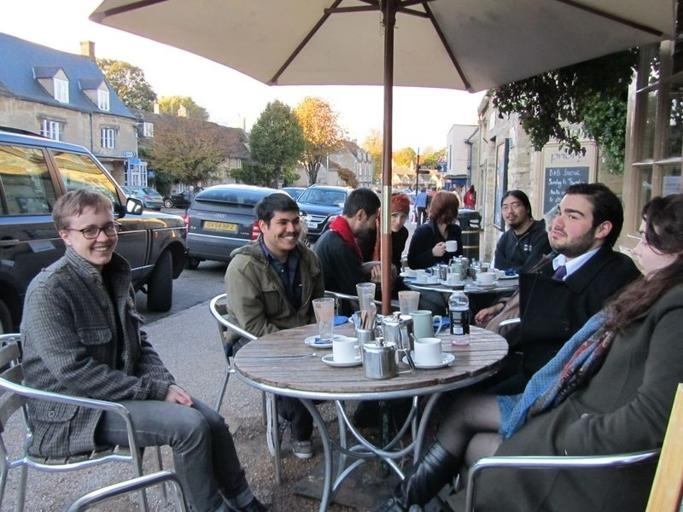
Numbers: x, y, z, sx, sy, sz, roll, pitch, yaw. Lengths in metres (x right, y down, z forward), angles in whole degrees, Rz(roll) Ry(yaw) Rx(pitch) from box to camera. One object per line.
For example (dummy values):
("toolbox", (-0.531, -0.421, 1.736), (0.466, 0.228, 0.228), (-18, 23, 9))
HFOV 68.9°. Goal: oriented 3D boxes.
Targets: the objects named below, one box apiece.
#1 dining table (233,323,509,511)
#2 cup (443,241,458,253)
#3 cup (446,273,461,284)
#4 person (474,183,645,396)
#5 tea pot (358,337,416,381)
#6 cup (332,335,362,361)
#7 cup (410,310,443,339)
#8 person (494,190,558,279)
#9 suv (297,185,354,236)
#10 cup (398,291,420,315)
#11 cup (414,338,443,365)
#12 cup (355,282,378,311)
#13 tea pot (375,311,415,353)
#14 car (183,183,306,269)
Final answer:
("dining table", (-0.033, 0.456, 2.810), (1.205, 0.853, 1.161), (-6, 11, -31))
("cup", (1.384, -0.123, 6.275), (0.116, 0.125, 0.162), (-2, 0, 0))
("cup", (1.159, 0.235, 5.182), (0.104, 0.084, 0.103), (1, -3, 0))
("person", (1.424, 0.330, 3.407), (0.835, 1.599, 0.792), (13, 8, 32))
("tea pot", (0.233, 0.534, 2.594), (0.267, 0.197, 0.163), (3, 6, 21))
("cup", (0.027, 0.511, 2.763), (0.091, 0.112, 0.156), (-1, 5, -30))
("cup", (0.551, 0.420, 3.023), (0.232, 0.232, 0.161), (-2, 3, 17))
("person", (2.145, -0.255, 5.985), (0.612, 1.026, 0.655), (-8, 7, -42))
("suv", (-0.709, -1.703, 17.321), (1.288, 1.442, 2.680), (2, 1, 13))
("cup", (0.417, 0.285, 3.094), (0.129, 0.156, 0.139), (0, 1, 0))
("cup", (0.461, 0.510, 2.708), (0.126, 0.105, 0.134), (-3, -2, 0))
("cup", (0.161, 0.272, 3.275), (0.149, 0.205, 0.154), (0, 0, 0))
("tea pot", (0.338, 0.428, 2.894), (0.241, 0.270, 0.140), (3, 5, 44))
("car", (-2.424, -0.676, 10.847), (1.449, 1.405, 2.824), (3, 12, 12))
